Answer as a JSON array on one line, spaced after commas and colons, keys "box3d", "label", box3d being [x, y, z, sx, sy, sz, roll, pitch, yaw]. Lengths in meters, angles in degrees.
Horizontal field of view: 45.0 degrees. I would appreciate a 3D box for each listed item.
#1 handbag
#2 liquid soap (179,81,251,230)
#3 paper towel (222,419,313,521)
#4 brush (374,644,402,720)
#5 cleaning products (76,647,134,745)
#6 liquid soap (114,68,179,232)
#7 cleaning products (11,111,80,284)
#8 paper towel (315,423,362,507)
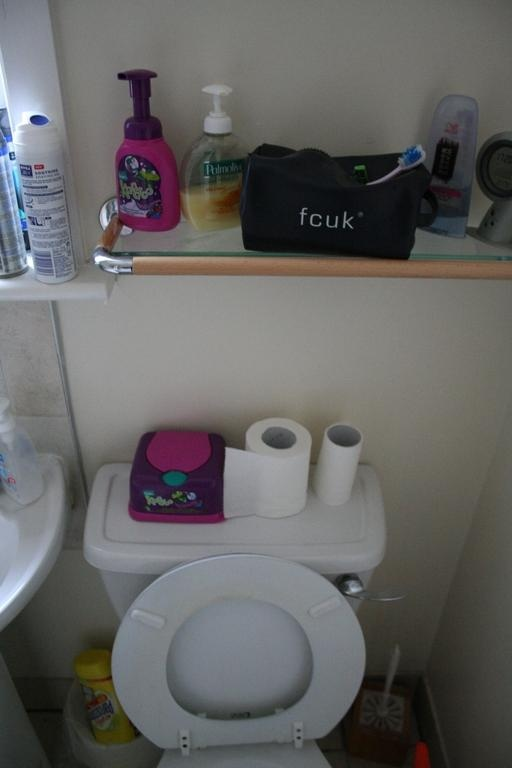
[{"box3d": [0.085, -0.196, 0.676, 0.200, 0.108, 0.048, 3, 31, 1], "label": "handbag"}, {"box3d": [-0.048, -0.246, 0.709, 0.093, 0.176, 0.070, 0, 31, -6], "label": "liquid soap"}, {"box3d": [0.019, 0.129, 0.964, 0.126, 0.128, 0.107, 5, 32, 4], "label": "paper towel"}, {"box3d": [0.288, 0.603, 1.267, 0.068, 0.174, 0.046, -10, 39, -14], "label": "brush"}, {"box3d": [-0.300, 0.614, 1.263, 0.146, 0.173, 0.089, 0, 31, -3], "label": "cleaning products"}, {"box3d": [-0.133, -0.277, 0.732, 0.072, 0.172, 0.121, -6, 32, -14], "label": "liquid soap"}, {"box3d": [-0.235, -0.203, 0.692, 0.085, 0.197, 0.064, -9, 27, -26], "label": "cleaning products"}, {"box3d": [0.125, 0.128, 1.010, 0.068, 0.134, 0.068, -16, 50, -23], "label": "paper towel"}]
